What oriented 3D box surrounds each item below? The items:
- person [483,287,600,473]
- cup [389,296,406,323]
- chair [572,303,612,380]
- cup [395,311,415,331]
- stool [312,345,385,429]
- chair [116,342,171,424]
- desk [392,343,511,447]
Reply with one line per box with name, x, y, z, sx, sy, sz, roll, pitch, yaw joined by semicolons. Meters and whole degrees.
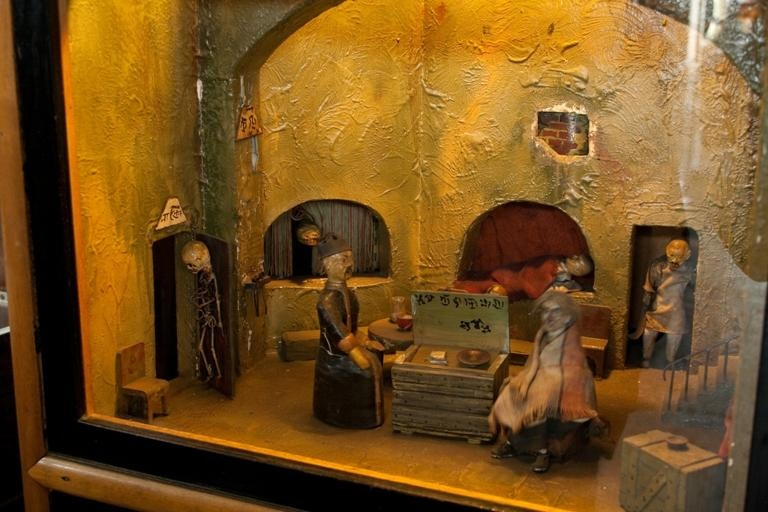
person;0.912;0.646;3.578;0.571;0.871;0.500;7;8;9
cup;0.099;0.394;4.819;0.116;0.192;0.194;3;5;28
chair;1.149;0.474;3.611;0.274;0.344;0.256;1;10;8
cup;0.146;0.476;4.736;0.127;0.092;0.126;1;10;0
stool;-0.253;0.865;4.494;0.593;0.583;0.420;2;6;44
chair;-1.371;0.733;3.704;0.204;0.383;0.280;8;4;5
desk;0.403;0.945;4.244;0.664;0.432;0.398;3;-2;16
